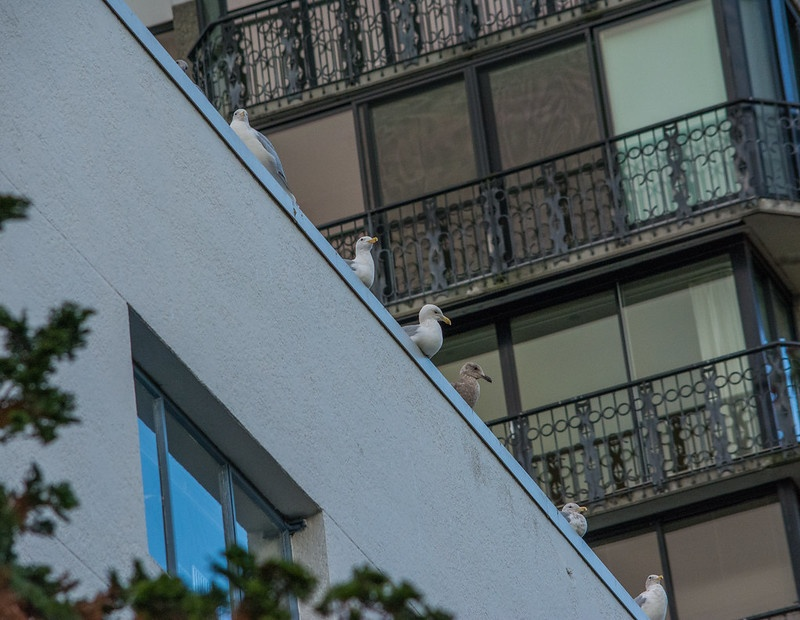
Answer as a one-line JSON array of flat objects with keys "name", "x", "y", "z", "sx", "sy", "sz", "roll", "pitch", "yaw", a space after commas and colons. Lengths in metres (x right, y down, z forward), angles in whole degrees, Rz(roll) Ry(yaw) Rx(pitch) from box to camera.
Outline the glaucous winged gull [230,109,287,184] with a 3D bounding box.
[{"name": "glaucous winged gull", "x": -1.250, "y": -1.399, "z": 23.310, "sx": 0.453, "sy": 0.683, "sz": 0.757, "roll": -8, "pitch": -12, "yaw": 35}]

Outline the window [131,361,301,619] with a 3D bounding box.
[{"name": "window", "x": -1.430, "y": 1.348, "z": 19.086, "sx": 0.114, "sy": 1.291, "sz": 1.789, "roll": -30, "pitch": -55, "yaw": 14}]
